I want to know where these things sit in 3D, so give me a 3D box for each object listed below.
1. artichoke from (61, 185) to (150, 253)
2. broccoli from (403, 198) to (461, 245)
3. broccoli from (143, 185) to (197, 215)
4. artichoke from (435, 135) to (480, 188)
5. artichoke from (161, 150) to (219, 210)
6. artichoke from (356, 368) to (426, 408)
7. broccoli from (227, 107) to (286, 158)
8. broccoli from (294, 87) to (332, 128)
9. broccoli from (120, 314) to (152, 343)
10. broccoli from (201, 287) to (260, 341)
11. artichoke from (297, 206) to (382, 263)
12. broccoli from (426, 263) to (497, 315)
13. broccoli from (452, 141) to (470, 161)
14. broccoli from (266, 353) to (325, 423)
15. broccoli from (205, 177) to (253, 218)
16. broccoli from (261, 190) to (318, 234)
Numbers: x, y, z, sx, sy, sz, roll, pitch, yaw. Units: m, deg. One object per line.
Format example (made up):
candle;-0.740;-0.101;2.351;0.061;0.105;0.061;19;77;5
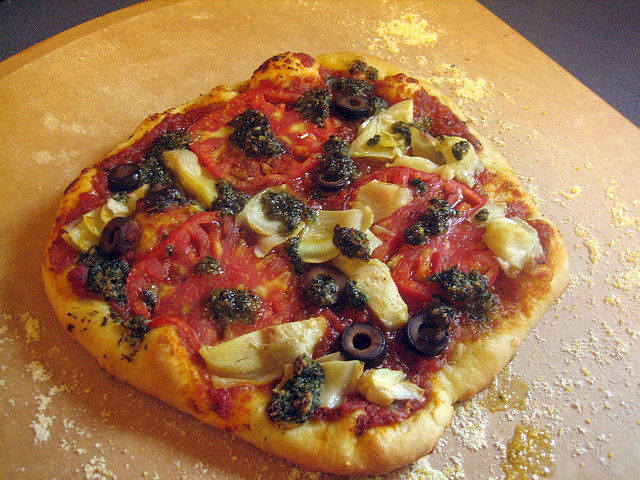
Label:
artichoke;-2.726;-0.207;9.265;0.822;0.289;0.682;3;78;0
broccoli;1.342;-0.205;8.958;0.431;0.207;0.596;24;71;11
broccoli;-1.909;-0.518;9.365;0.731;0.675;0.316;-8;109;-19
artichoke;1.760;-1.021;9.708;0.618;0.461;0.620;-4;108;-5
artichoke;-1.565;-0.783;9.228;0.500;0.234;0.889;-39;93;-26
artichoke;0.779;1.648;8.250;0.632;0.199;0.402;14;51;-4
broccoli;-0.828;-1.339;9.494;0.533;0.202;0.741;-26;59;-15
broccoli;-0.041;-1.770;9.923;0.518;0.210;0.500;-4;60;5
broccoli;-2.090;1.012;8.484;0.309;0.081;0.295;-26;87;12
broccoli;-1.043;0.802;8.563;0.625;0.180;0.586;-15;82;-14
artichoke;0.215;-0.051;9.019;0.959;0.225;0.583;-20;67;6
broccoli;1.715;0.521;8.723;0.811;0.283;0.509;38;82;4
broccoli;1.811;-1.132;9.518;0.186;0.056;0.225;2;74;6
broccoli;-0.211;1.690;8.160;0.483;0.228;0.786;29;81;2
broccoli;-1.131;-0.493;9.134;0.485;0.170;0.424;29;70;22
broccoli;-0.398;-0.355;9.018;0.636;0.127;0.442;38;78;9
